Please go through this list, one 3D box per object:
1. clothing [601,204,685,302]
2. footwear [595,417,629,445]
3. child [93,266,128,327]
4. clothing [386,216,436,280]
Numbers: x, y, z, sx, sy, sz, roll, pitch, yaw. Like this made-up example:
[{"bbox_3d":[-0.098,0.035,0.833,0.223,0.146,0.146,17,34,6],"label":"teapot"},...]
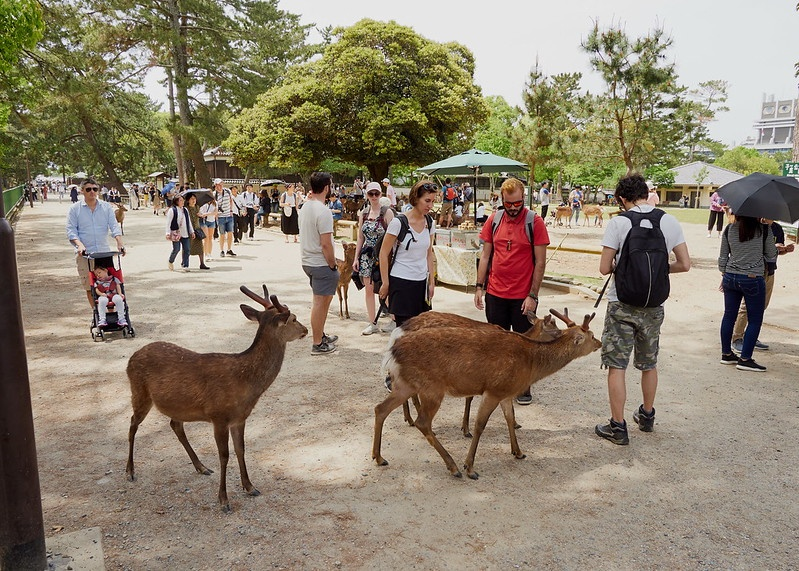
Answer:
[{"bbox_3d":[2.748,-0.386,6.516,0.890,1.069,0.401,-2,12,-3],"label":"clothing"},{"bbox_3d":[2.484,1.691,6.615,0.177,0.256,0.464,-1,10,-30],"label":"footwear"},{"bbox_3d":[-4.857,0.181,9.512,0.443,1.031,0.323,-8,13,-29],"label":"child"},{"bbox_3d":[0.183,-0.466,7.679,0.640,0.795,0.204,-8,13,-31],"label":"clothing"}]
